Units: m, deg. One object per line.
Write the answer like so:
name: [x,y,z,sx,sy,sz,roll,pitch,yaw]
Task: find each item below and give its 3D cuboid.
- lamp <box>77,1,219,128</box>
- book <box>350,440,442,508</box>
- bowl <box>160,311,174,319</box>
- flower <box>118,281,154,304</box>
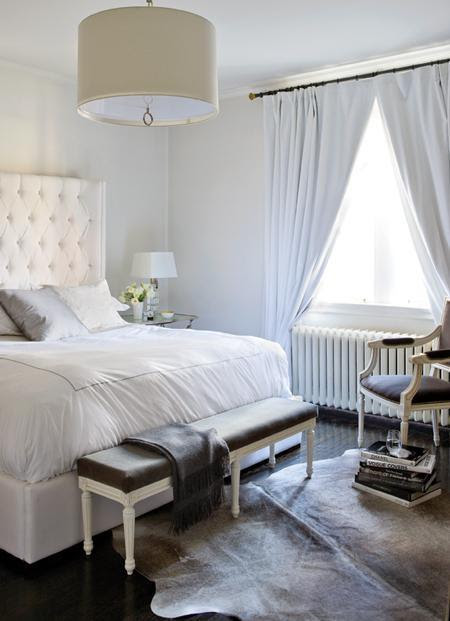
lamp: [-0.314,-1.045,2.106,0.582,0.515,0.537,0,2,-7]
book: [0.901,0.793,2.608,0.258,0.165,0.322,-7,8,-44]
bowl: [-0.527,0.046,4.686,0.086,0.041,0.088,-1,0,0]
flower: [-0.762,-0.155,4.506,0.218,0.134,0.211,-4,3,-13]
